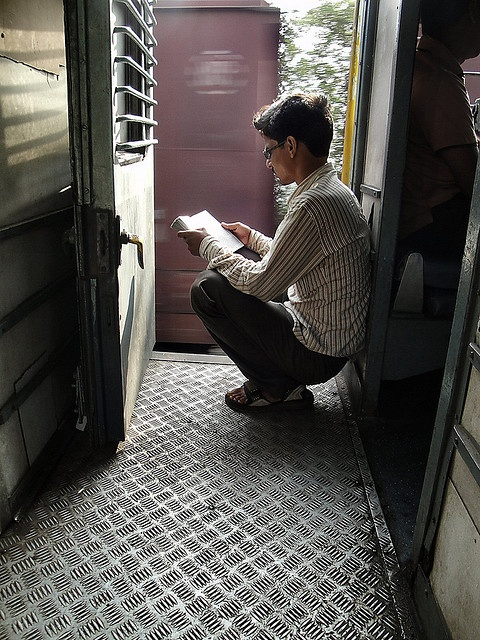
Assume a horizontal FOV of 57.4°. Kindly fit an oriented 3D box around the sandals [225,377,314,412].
[{"bbox_3d":[0.160,0.380,2.220,0.398,0.152,0.180,2,10,-3],"label":"sandals"}]

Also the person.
[{"bbox_3d":[0.187,-0.269,2.032,0.797,1.456,0.452,9,13,35],"label":"person"}]

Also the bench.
[{"bbox_3d":[0.741,-0.034,2.111,0.373,0.523,0.465,-1,17,-4],"label":"bench"}]

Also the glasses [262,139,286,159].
[{"bbox_3d":[0.154,-0.768,1.984,0.083,0.025,0.087,-35,19,14],"label":"glasses"}]
